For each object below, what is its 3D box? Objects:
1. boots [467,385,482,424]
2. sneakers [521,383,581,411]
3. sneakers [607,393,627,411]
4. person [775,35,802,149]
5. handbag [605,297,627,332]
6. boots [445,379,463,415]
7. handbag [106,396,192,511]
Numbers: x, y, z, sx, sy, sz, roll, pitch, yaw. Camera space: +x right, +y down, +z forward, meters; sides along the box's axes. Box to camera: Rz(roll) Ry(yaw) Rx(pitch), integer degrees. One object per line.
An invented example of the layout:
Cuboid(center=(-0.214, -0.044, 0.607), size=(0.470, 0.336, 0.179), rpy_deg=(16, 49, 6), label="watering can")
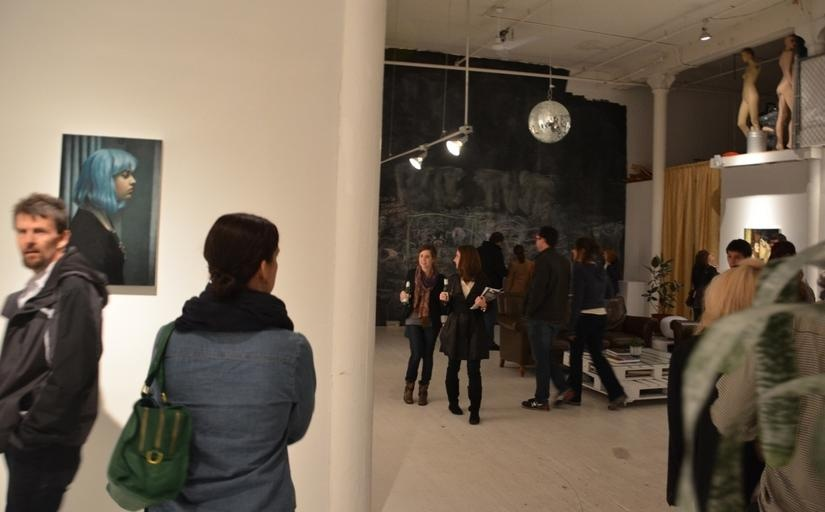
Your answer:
Cuboid(center=(0.681, 1.593, 6.881), size=(0.142, 0.405, 0.202), rpy_deg=(0, 6, 6), label="boots")
Cuboid(center=(1.618, 1.648, 7.442), size=(0.661, 0.281, 0.244), rpy_deg=(0, -3, -13), label="sneakers")
Cuboid(center=(2.384, 1.701, 7.414), size=(0.145, 0.110, 0.260), rpy_deg=(-10, -21, -15), label="sneakers")
Cuboid(center=(6.042, -2.615, 10.117), size=(0.371, 1.844, 1.120), rpy_deg=(3, 7, 31), label="person")
Cuboid(center=(2.977, 0.842, 9.253), size=(0.145, 0.456, 0.448), rpy_deg=(10, 3, -39), label="handbag")
Cuboid(center=(0.487, 1.576, 7.242), size=(0.184, 0.382, 0.272), rpy_deg=(0, 6, 3), label="boots")
Cuboid(center=(-1.309, 1.000, 3.157), size=(0.390, 0.505, 0.136), rpy_deg=(1, 6, 10), label="handbag")
